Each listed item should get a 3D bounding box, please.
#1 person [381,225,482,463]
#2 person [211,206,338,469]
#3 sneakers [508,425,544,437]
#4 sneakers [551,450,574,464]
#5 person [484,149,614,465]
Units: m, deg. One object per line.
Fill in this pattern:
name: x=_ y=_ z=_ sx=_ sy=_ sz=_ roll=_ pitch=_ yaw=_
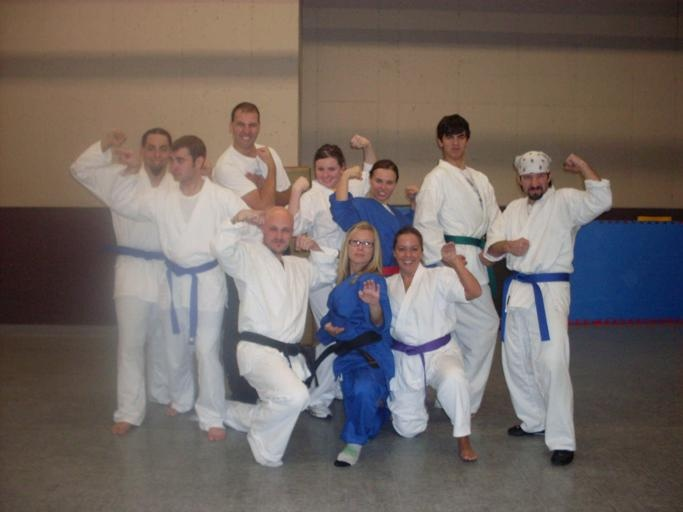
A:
person: x=0.616 y=0.564 z=4.979 sx=0.667 sy=1.446 sz=0.537 roll=1 pitch=12 yaw=14
person: x=-0.393 y=0.510 z=4.870 sx=0.786 sy=1.621 sz=0.575 roll=-7 pitch=13 yaw=-25
sneakers: x=1.311 y=1.255 z=5.097 sx=0.237 sy=0.080 sz=0.093 roll=5 pitch=3 yaw=6
sneakers: x=1.456 y=1.325 z=4.734 sx=0.166 sy=0.068 sz=0.071 roll=-8 pitch=-5 yaw=23
person: x=1.446 y=0.291 z=4.998 sx=0.585 sy=1.977 sz=0.878 roll=-8 pitch=13 yaw=-28
